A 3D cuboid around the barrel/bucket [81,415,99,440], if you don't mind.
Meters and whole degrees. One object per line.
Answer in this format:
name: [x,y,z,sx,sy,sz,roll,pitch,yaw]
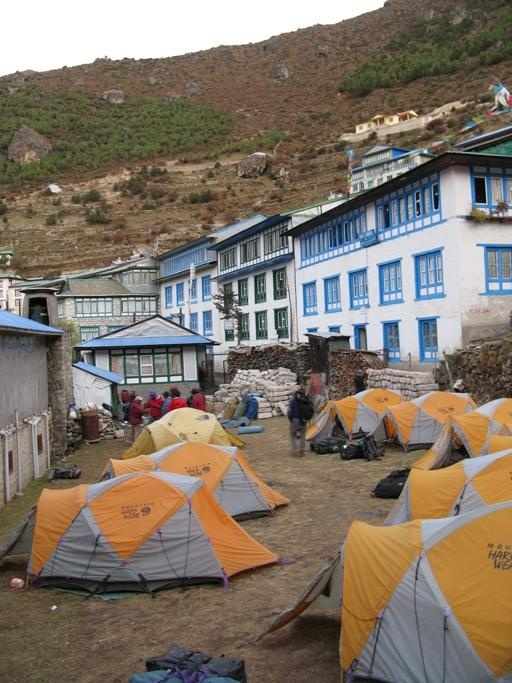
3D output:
barrel/bucket: [-5.162,2.736,22.451,0.763,0.983,0.739,0,-4,0]
